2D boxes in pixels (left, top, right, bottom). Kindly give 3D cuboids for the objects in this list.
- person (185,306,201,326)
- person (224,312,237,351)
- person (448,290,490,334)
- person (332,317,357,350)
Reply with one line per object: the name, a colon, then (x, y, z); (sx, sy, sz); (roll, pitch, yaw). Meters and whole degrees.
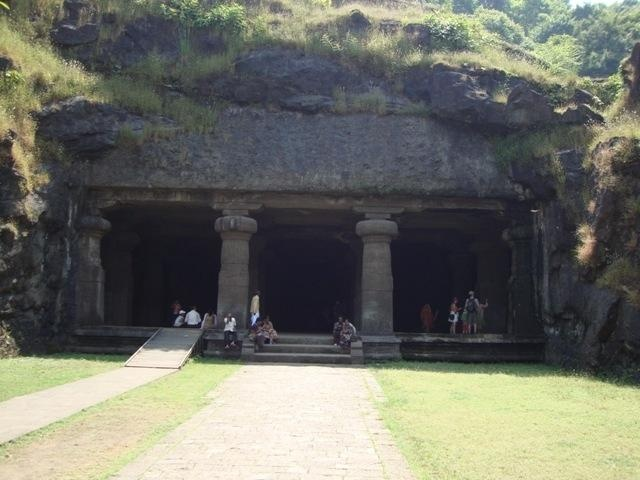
person: (-4.605, 2.827, 25.340); (0.583, 0.963, 1.790); (0, 6, -10)
person: (-2.805, 2.865, 22.253); (0.395, 1.032, 0.724); (5, 7, 32)
person: (5.499, 2.598, 25.939); (1.555, 1.796, 1.090); (12, 29, 32)
person: (0.780, 2.980, 22.494); (0.719, 0.954, 0.857); (1, 6, -7)
